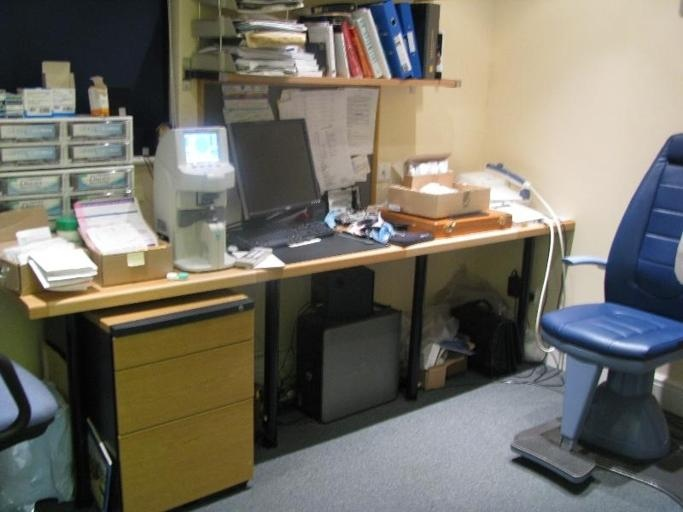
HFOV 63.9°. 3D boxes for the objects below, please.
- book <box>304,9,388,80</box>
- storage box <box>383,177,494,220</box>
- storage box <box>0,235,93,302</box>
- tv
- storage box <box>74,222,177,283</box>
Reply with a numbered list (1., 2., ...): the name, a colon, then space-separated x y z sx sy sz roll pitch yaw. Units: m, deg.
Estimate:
1. book: 0.058 -1.107 2.842 0.359 0.415 0.132 -8 5 -9
2. storage box: 0.480 -0.315 3.064 0.324 0.101 0.296 -15 21 -42
3. storage box: -1.075 0.028 2.020 0.262 0.087 0.206 22 25 30
4. tv: -0.359 -0.439 2.733 0.056 0.397 0.436 -1 14 45
5. storage box: -0.817 -0.005 2.161 0.242 0.101 0.245 -11 27 -33
